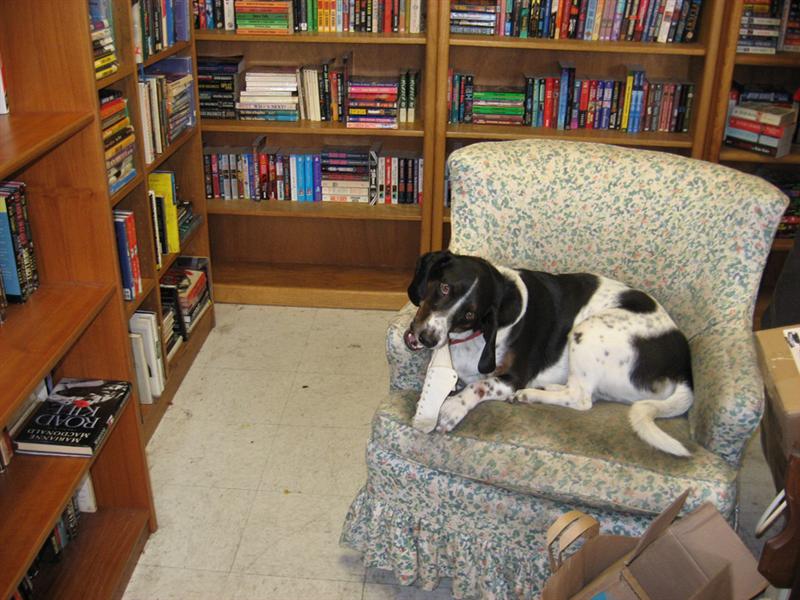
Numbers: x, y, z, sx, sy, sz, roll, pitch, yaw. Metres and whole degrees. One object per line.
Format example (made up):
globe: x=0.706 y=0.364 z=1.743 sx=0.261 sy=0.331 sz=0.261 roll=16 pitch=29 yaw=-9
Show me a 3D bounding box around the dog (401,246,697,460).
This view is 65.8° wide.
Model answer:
dog: x=0.487 y=0.154 z=1.965 sx=0.773 sy=0.346 sz=0.596 roll=4 pitch=41 yaw=8
